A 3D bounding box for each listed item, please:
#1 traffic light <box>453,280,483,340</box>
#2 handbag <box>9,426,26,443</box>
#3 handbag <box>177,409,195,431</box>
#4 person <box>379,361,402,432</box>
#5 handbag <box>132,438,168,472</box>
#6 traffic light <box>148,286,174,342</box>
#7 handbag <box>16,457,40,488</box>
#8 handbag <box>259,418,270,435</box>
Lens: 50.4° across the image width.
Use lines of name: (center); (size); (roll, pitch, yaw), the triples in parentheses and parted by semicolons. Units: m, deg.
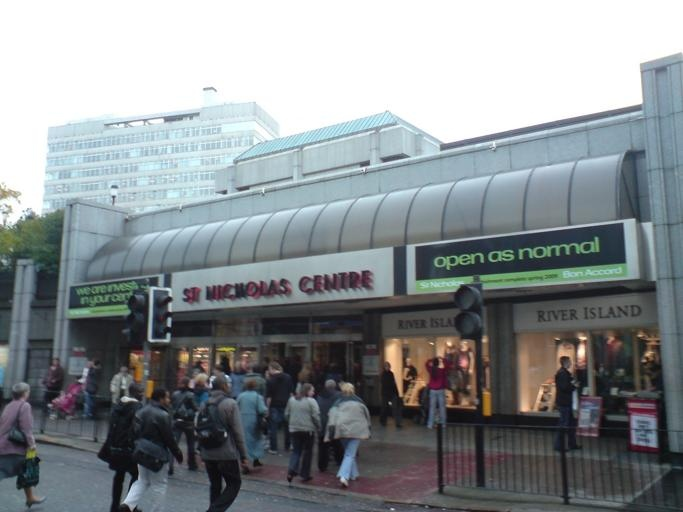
traffic light: (2.606, 1.124, 14.864); (0.541, 1.192, 0.372); (-1, -12, 7)
handbag: (-6.038, 3.315, 13.486); (0.119, 0.224, 0.251); (-18, -30, 26)
handbag: (-3.463, 3.620, 15.988); (0.455, 0.445, 0.505); (3, -12, -12)
person: (1.498, 4.186, 21.837); (0.619, 1.904, 0.897); (0, -12, 3)
handbag: (-3.279, 3.402, 12.480); (0.511, 0.351, 0.218); (22, -34, -12)
traffic light: (-4.092, 1.296, 16.300); (0.540, 1.266, 0.833); (4, -12, -16)
handbag: (-5.806, 4.015, 13.471); (0.359, 0.567, 0.245); (8, -13, -29)
handbag: (-1.691, 3.677, 15.748); (0.175, 0.359, 0.489); (3, -12, -11)
